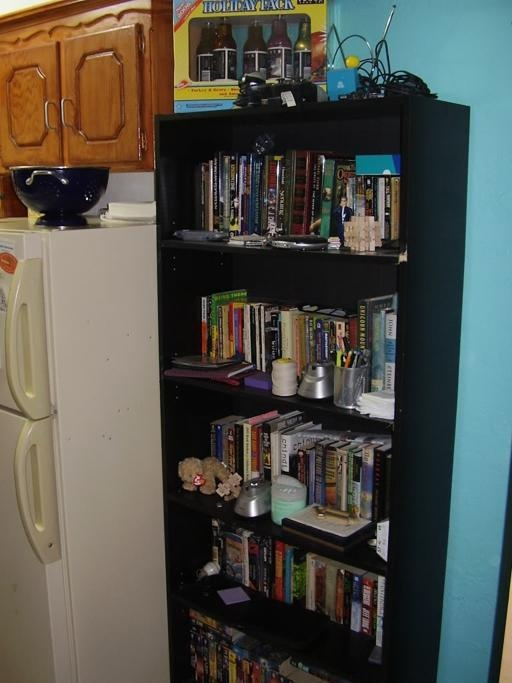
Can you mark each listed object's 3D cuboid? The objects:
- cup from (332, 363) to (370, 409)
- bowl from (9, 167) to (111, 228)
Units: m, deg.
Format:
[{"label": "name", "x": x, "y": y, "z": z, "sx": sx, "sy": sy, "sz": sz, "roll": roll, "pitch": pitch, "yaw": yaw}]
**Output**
[{"label": "cup", "x": 0.211, "y": 0.103, "z": 1.399, "sx": 0.072, "sy": 0.102, "sz": 0.087, "roll": 4, "pitch": 4, "yaw": 34}, {"label": "bowl", "x": -0.513, "y": -0.381, "z": 1.582, "sx": 0.213, "sy": 0.166, "sz": 0.207, "roll": 1, "pitch": 7, "yaw": 0}]
